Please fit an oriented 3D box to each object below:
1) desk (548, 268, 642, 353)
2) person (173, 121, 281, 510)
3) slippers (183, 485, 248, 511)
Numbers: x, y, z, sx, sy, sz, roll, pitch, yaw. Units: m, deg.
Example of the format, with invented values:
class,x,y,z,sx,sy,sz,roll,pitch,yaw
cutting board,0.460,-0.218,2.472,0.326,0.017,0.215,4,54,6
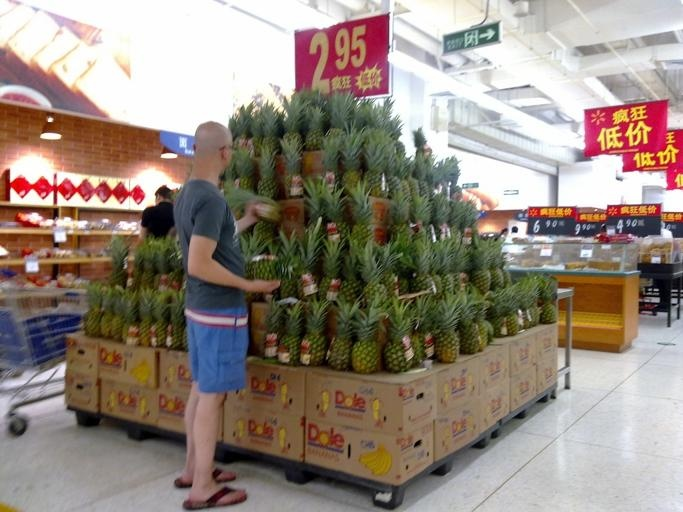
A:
class,x,y,z,sx,sy,sz,roll,pitch,yaw
desk,3.651,0.829,7.513,1.325,1.077,0.755,-1,4,31
person,-0.754,0.331,3.103,0.599,2.348,0.541,0,3,-20
slippers,-0.771,1.431,2.954,0.289,0.089,0.145,-2,-4,-21
